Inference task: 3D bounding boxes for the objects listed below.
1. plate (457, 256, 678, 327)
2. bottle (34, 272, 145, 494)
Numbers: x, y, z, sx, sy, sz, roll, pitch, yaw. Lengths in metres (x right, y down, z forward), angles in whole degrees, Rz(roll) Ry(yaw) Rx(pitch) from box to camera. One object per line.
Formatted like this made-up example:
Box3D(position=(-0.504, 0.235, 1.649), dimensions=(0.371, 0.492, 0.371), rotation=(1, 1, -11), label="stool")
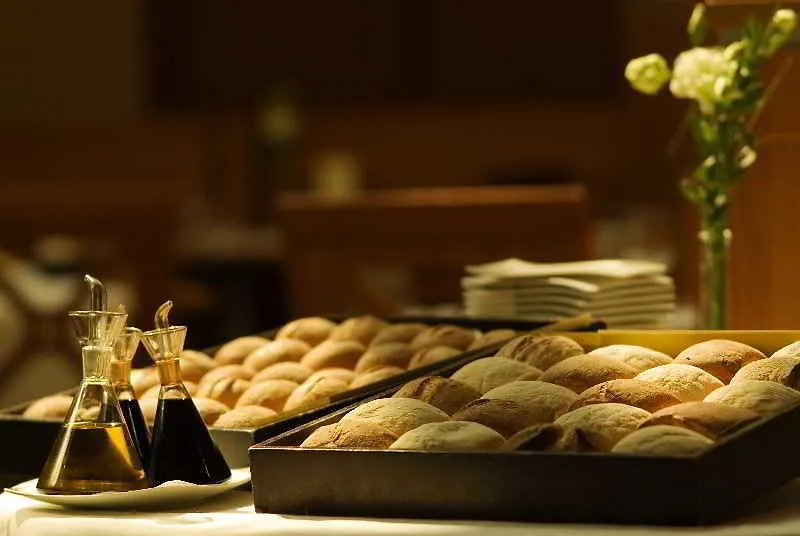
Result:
Box3D(position=(0.348, 0.050, 1.725), dimensions=(0.272, 0.104, 0.218), rotation=(-1, -2, 3), label="plate")
Box3D(position=(-0.342, 0.147, 0.930), dimensions=(0.116, 0.197, 0.047), rotation=(0, -7, -16), label="bottle")
